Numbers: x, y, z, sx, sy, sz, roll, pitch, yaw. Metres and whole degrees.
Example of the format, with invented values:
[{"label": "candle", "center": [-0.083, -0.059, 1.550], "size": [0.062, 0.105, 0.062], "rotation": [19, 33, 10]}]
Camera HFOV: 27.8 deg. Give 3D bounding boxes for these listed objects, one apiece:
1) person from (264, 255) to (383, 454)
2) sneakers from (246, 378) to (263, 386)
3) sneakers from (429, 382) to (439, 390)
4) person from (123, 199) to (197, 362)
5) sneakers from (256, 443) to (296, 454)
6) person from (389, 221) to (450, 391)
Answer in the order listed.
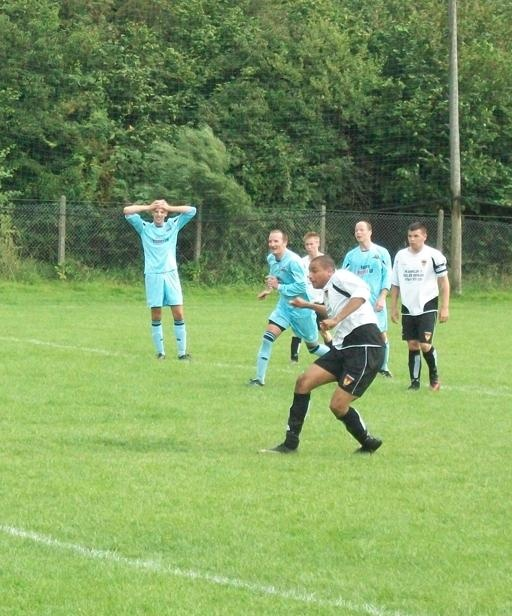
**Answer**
[{"label": "person", "center": [0.575, 0.338, 7.519], "size": [0.749, 1.404, 0.628], "rotation": [3, 9, 15]}, {"label": "sneakers", "center": [-0.012, 0.722, 9.965], "size": [0.149, 0.064, 0.054], "rotation": [14, 13, 38]}, {"label": "sneakers", "center": [1.732, 0.755, 9.952], "size": [0.091, 0.067, 0.120], "rotation": [-9, -6, 21]}, {"label": "person", "center": [-1.126, -0.323, 12.208], "size": [0.818, 1.892, 1.500], "rotation": [0, 8, -5]}, {"label": "sneakers", "center": [0.146, 0.997, 7.433], "size": [0.253, 0.080, 0.091], "rotation": [2, -5, 5]}, {"label": "person", "center": [1.634, -0.001, 10.252], "size": [0.556, 1.651, 0.855], "rotation": [2, 8, 6]}]
